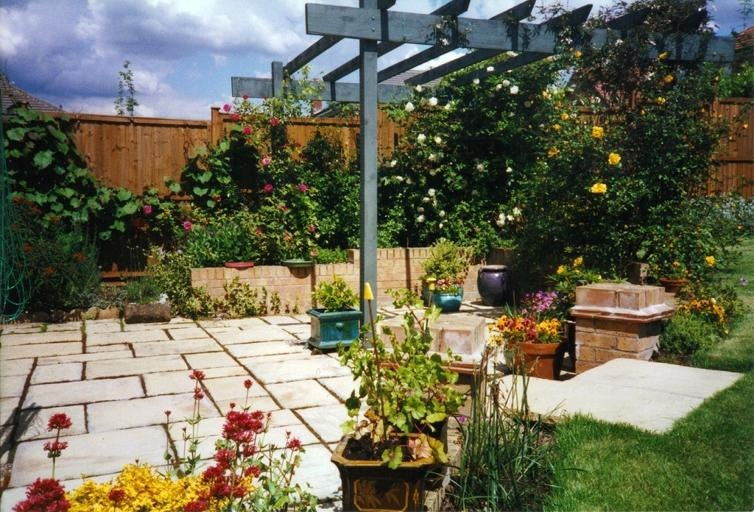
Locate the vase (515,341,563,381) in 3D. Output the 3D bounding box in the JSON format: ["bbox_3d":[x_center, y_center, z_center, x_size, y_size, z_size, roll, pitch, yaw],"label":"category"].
[{"bbox_3d":[1.719,1.109,6.799,0.500,0.472,0.202,-8,15,-21],"label":"vase"}]

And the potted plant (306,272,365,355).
[{"bbox_3d":[-0.589,0.693,8.145,0.828,1.166,0.775,-1,4,-22],"label":"potted plant"}]

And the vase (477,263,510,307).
[{"bbox_3d":[1.903,0.537,10.337,0.509,0.682,0.549,-11,-14,12],"label":"vase"}]
